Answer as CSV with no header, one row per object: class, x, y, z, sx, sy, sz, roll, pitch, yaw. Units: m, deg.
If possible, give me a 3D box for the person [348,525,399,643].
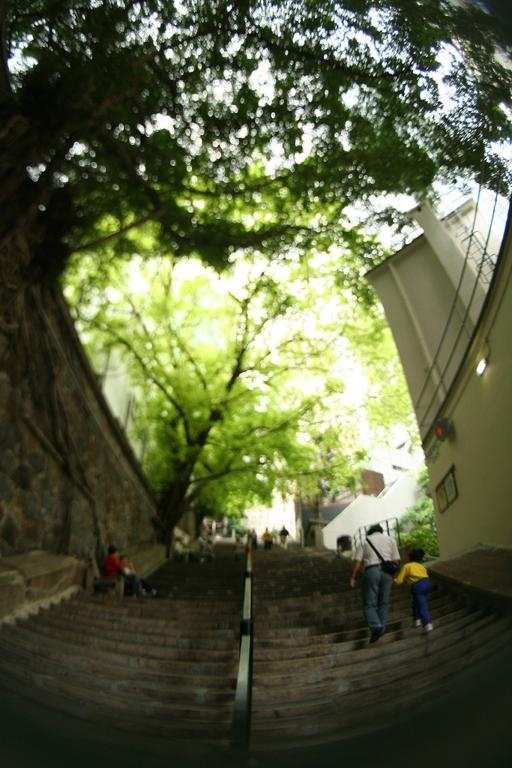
person,0.755,1.197,2.614,0.332,0.739,0.256,14,-41,2
